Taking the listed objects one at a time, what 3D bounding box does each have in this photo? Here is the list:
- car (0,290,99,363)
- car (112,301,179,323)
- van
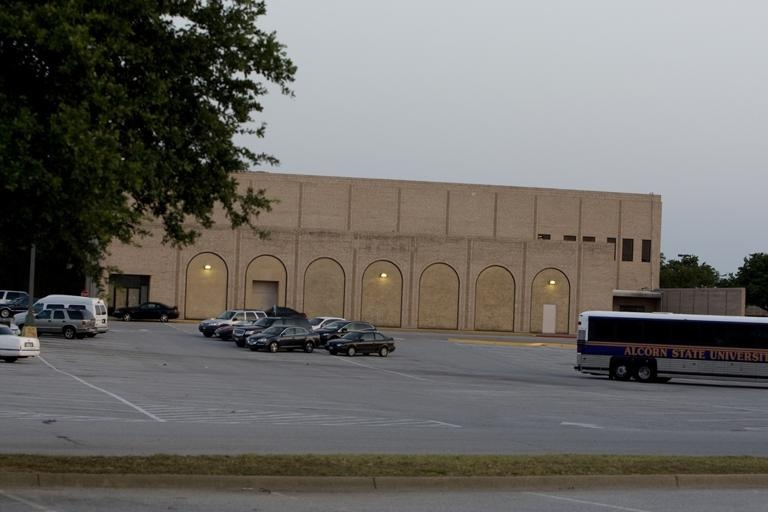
[{"bbox_3d":[-18.035,3.482,89.491,4.889,2.100,2.485,1,-2,3],"label":"car"},{"bbox_3d":[-16.016,3.896,110.630,3.788,1.081,1.620,3,-2,-3],"label":"car"},{"bbox_3d":[-17.689,3.550,90.988,4.918,2.087,2.720,2,-2,4],"label":"van"}]
